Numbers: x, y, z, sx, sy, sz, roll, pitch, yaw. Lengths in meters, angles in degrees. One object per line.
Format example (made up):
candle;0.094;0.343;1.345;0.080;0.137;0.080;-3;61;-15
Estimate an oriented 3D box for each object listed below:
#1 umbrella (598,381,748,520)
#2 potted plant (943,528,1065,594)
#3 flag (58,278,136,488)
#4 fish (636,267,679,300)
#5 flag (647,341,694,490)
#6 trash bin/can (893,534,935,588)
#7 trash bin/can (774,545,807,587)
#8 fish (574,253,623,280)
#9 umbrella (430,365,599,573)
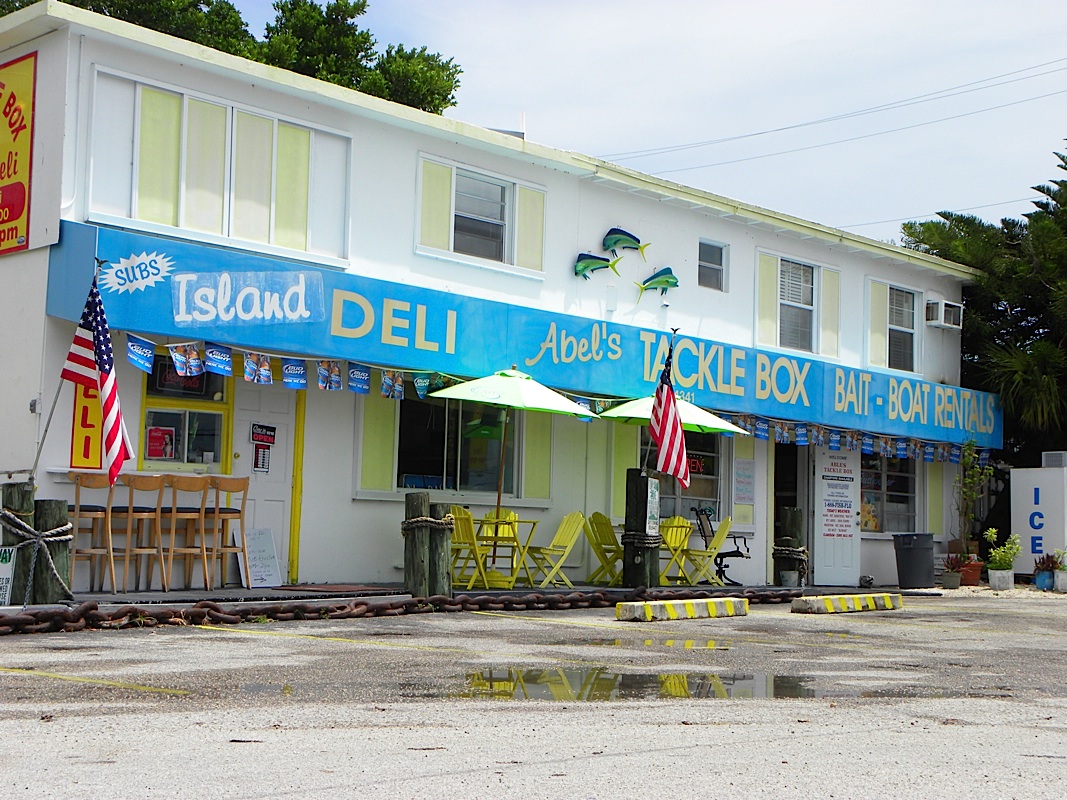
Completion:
umbrella;1.913;0.719;20.277;1.531;1.244;1.717;15;0;26
potted plant;9.127;3.250;25.726;2.059;0.975;1.247;7;-8;-25
flag;-5.024;-0.276;15.154;0.795;2.377;0.512;1;-9;0
fish;2.009;-2.028;22.622;0.267;0.562;1.192;3;11;39
flag;1.975;0.233;19.282;0.528;2.014;0.857;1;-9;5
trash bin/can;6.891;2.938;23.925;0.637;1.027;0.644;-3;-10;24
trash bin/can;4.701;3.051;24.001;0.666;0.783;0.706;2;-7;-12
fish;1.024;-2.223;21.725;0.909;0.541;0.171;9;-12;-36
umbrella;-0.286;0.829;19.029;2.526;2.591;2.497;6;-11;1
